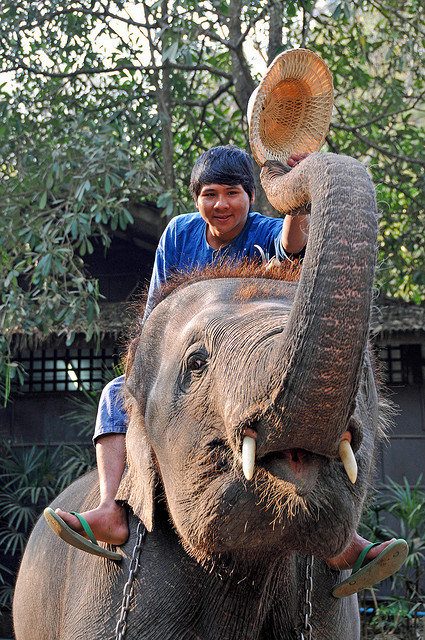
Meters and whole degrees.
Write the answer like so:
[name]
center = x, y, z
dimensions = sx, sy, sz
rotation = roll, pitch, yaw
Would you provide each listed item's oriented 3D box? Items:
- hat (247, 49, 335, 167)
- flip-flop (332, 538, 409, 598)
[hat]
center = 0.151, -0.403, 1.432
dimensions = 0.078, 0.211, 0.243
rotation = 16, 26, 33
[flip-flop]
center = 0.346, 0.542, 1.626
dimensions = 0.113, 0.190, 0.113
rotation = 2, -9, -29
